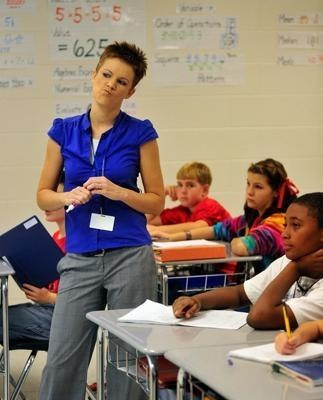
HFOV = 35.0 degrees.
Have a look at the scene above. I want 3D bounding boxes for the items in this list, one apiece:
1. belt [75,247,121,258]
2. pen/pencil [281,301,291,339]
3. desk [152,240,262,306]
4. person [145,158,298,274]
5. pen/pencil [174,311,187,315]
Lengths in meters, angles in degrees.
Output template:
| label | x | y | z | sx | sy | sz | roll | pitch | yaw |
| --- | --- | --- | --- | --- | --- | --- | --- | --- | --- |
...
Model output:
| label | x | y | z | sx | sy | sz | roll | pitch | yaw |
| --- | --- | --- | --- | --- | --- | --- | --- | --- | --- |
| belt | -0.195 | 0.165 | 1.635 | 0.138 | 0.018 | 0.022 | -5 | 3 | 3 |
| pen/pencil | 0.288 | 0.278 | 1.183 | 0.010 | 0.081 | 0.010 | -7 | -4 | 35 |
| desk | 0.124 | 0.333 | 2.536 | 0.353 | 0.243 | 0.483 | -26 | -22 | 24 |
| person | 0.319 | 0.184 | 2.671 | 0.762 | 0.681 | 0.454 | -4 | 9 | -18 |
| pen/pencil | 0.048 | 0.292 | 1.334 | 0.017 | 0.007 | 0.020 | -1 | -5 | -2 |
